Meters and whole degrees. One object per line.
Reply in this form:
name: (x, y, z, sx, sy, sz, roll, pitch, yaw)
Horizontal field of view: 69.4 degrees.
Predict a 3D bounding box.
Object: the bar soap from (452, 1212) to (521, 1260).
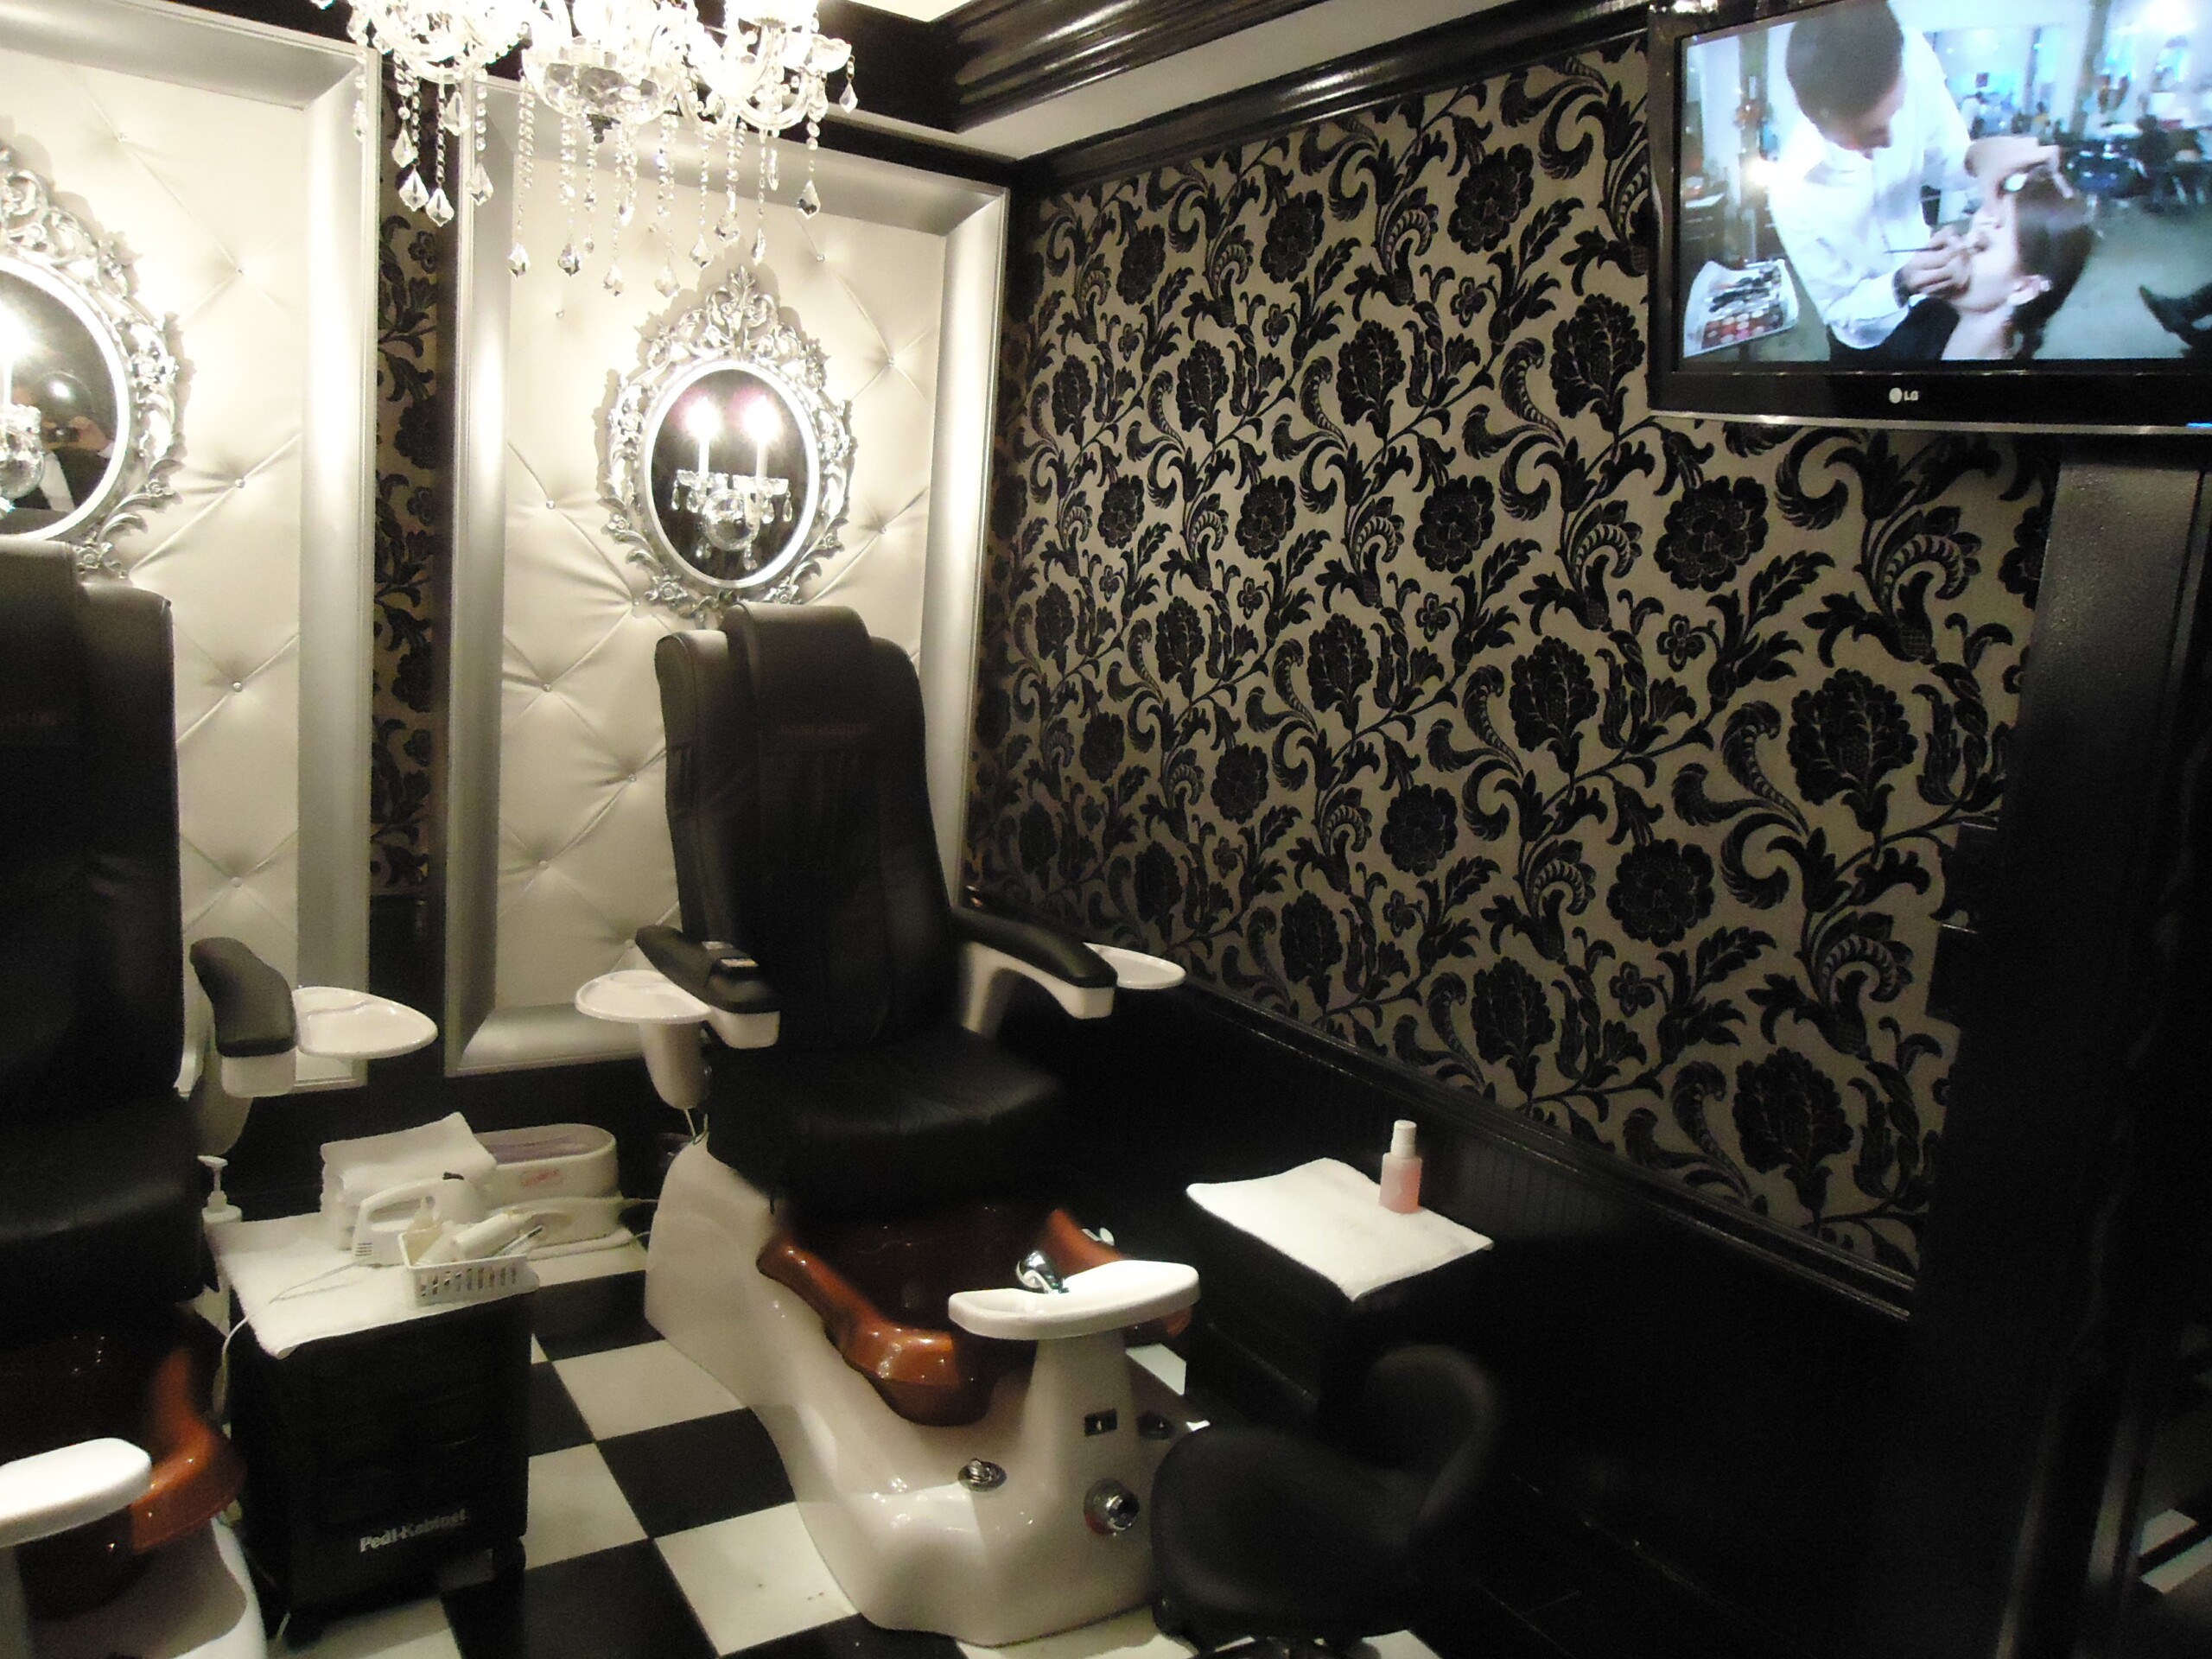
bar soap: (-0.968, 0.639, 2.508, 0.058, 0.024, 0.065, -20, 33, -10)
